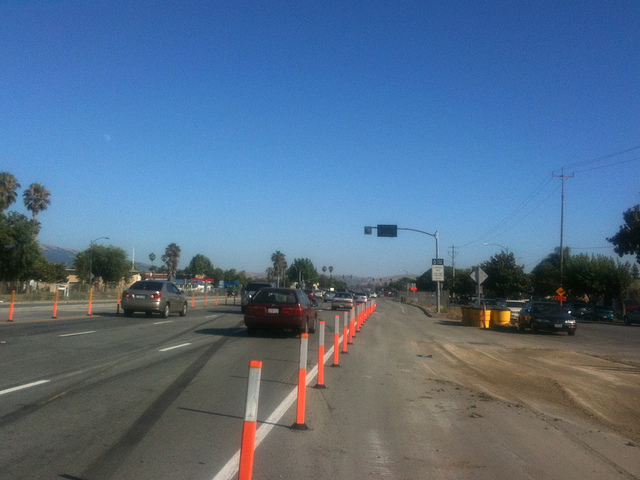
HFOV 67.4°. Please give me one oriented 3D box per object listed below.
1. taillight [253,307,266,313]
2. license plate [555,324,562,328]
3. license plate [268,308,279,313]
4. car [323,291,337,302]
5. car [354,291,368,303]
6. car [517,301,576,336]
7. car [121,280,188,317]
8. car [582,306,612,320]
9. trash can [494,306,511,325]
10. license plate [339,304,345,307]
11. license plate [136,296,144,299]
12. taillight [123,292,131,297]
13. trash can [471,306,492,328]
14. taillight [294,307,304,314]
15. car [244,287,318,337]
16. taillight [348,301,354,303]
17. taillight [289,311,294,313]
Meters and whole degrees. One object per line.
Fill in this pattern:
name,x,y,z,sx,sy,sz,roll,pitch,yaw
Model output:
taillight,-2.103,2.450,16.796,0.461,0.155,0.058,2,-1,7
license plate,12.053,4.335,24.183,0.349,0.157,0.048,3,-1,-1
license plate,-1.603,2.458,16.725,0.381,0.136,0.044,3,-1,4
car,1.317,7.699,65.960,1.724,2.024,0.741,-1,-9,17
car,4.637,6.283,53.960,1.165,1.128,3.074,-1,-13,5
car,11.700,4.110,25.351,1.353,1.081,3.078,1,-13,0
car,-7.993,2.885,23.580,1.559,1.778,3.253,1,-3,25
car,26.900,7.191,46.307,0.907,1.120,2.793,3,-3,-23
trash can,11.238,4.634,29.530,0.856,1.084,0.947,-1,-3,16
license plate,1.972,5.647,41.329,0.303,0.258,0.181,0,-9,5
license plate,-8.420,2.705,22.510,0.351,0.122,0.024,3,-1,2
taillight,-9.018,2.571,22.465,0.328,0.214,0.187,4,-3,-29
trash can,9.948,4.663,28.931,0.935,1.252,1.186,2,-3,-5
taillight,-0.716,2.479,16.789,0.372,0.181,0.123,5,-3,-39
car,-1.179,2.706,18.050,1.482,1.312,2.880,0,-3,5
taillight,2.734,5.322,41.091,0.585,0.084,0.255,6,-5,-41
taillight,-0.970,2.505,16.677,0.154,0.038,0.018,3,-2,-11
